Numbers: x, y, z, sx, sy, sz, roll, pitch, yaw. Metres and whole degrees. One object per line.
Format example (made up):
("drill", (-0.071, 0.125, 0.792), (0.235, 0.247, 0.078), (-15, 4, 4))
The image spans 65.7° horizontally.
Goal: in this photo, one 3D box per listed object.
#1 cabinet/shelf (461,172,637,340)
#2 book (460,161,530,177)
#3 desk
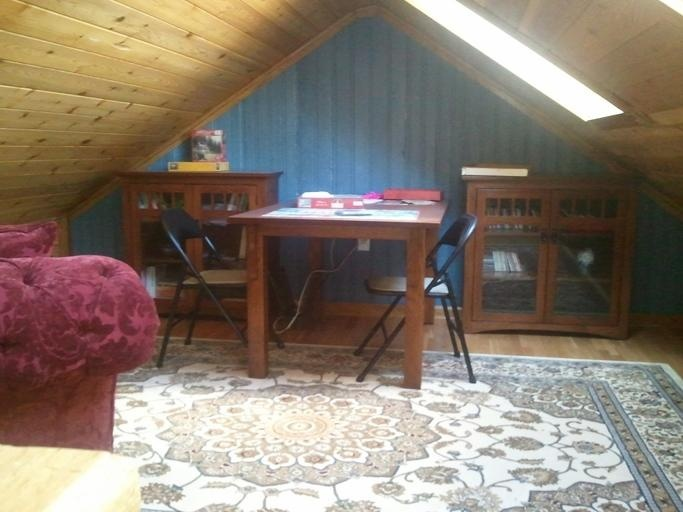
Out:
("cabinet/shelf", (1.416, -0.021, 3.556), (1.783, 1.105, 0.543), (1, 6, 7))
("book", (1.074, -0.592, 3.661), (0.433, 0.083, 0.337), (3, 12, 14))
("desk", (-0.008, 0.142, 3.175), (1.408, 0.696, 1.407), (1, 7, 7))
